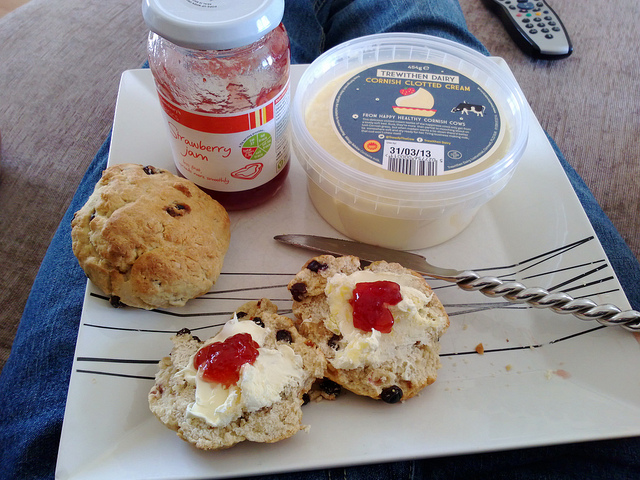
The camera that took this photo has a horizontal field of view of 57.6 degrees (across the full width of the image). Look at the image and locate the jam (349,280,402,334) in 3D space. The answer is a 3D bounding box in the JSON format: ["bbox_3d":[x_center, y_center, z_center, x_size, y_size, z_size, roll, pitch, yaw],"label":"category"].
[{"bbox_3d":[0.128,0.153,1.341,0.120,0.037,0.120,1,76,3],"label":"jam"}]

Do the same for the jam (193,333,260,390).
[{"bbox_3d":[-0.205,0.275,1.299,0.149,0.050,0.108,-21,76,-3],"label":"jam"}]
